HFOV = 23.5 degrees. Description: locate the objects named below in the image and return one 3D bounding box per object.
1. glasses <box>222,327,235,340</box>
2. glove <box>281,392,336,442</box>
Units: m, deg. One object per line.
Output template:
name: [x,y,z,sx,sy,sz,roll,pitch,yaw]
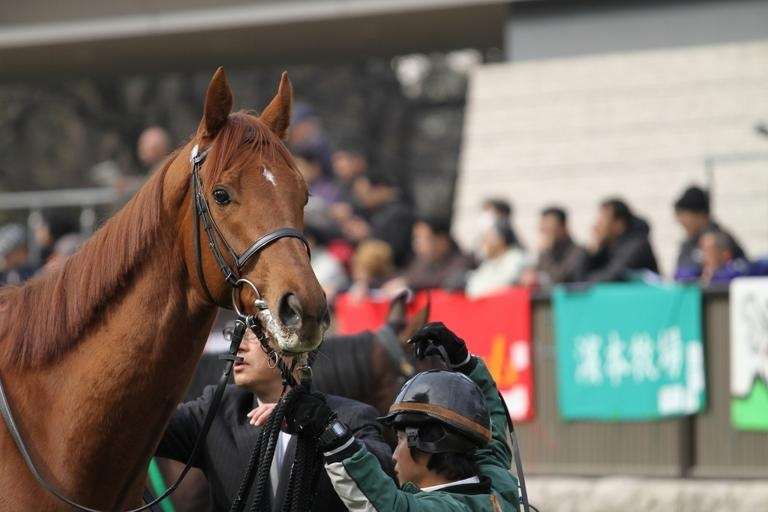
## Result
glasses: [-1.244,0.609,14.657,0.091,0.066,0.106,-24,-1,25]
glove: [-0.582,1.210,14.227,0.380,0.399,0.197,-2,12,-9]
